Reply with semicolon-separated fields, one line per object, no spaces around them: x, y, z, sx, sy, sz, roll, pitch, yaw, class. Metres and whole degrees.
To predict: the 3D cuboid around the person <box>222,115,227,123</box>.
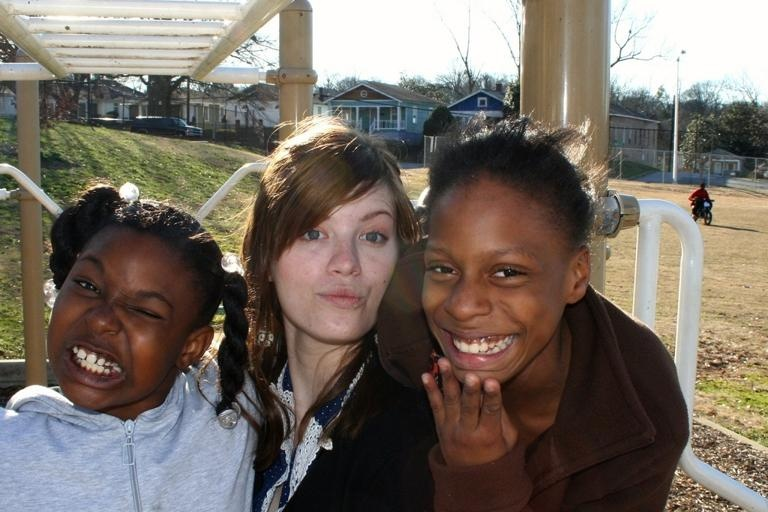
-7.441;-6.374;33.453;0.140;0.372;1.939;1;11;-14;person

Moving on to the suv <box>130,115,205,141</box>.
-8.735;-5.048;28.146;2.019;0.778;3.348;5;10;3;suv

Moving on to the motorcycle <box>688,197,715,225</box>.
9.674;-1.414;22.013;0.561;0.822;0.904;7;11;22;motorcycle
